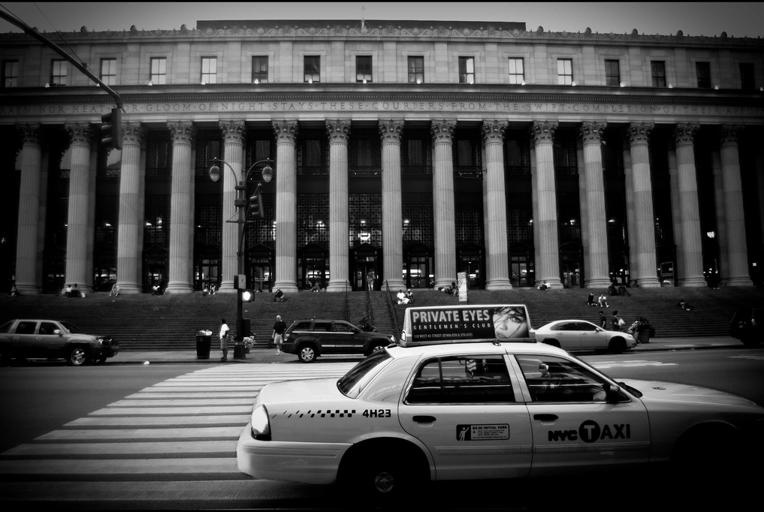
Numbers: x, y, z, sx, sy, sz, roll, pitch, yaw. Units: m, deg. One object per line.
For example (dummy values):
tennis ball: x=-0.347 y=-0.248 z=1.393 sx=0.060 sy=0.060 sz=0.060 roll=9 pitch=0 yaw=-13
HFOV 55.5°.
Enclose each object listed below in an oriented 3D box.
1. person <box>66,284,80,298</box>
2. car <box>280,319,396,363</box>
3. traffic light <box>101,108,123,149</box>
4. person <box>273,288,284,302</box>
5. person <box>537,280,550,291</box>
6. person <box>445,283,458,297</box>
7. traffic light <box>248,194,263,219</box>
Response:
person: x=-23.522 y=2.677 z=55.206 sx=1.194 sy=0.623 sz=1.219 roll=16 pitch=-7 yaw=-31
car: x=-2.308 y=4.661 z=39.255 sx=6.162 sy=2.115 sz=2.497 roll=-2 pitch=-4 yaw=-5
traffic light: x=-11.446 y=-5.362 z=30.717 sx=0.741 sy=1.721 sz=1.208 roll=-7 pitch=13 yaw=-28
person: x=-7.462 y=2.915 z=52.066 sx=0.678 sy=0.877 sz=0.862 roll=-5 pitch=-14 yaw=30
person: x=12.553 y=2.348 z=55.942 sx=0.878 sy=0.342 sz=0.625 roll=1 pitch=12 yaw=-5
person: x=5.182 y=2.550 z=53.812 sx=0.701 sy=0.707 sz=2.231 roll=8 pitch=12 yaw=3
traffic light: x=-6.972 y=-2.655 z=40.250 sx=0.547 sy=1.190 sz=1.201 roll=-9 pitch=14 yaw=-37
